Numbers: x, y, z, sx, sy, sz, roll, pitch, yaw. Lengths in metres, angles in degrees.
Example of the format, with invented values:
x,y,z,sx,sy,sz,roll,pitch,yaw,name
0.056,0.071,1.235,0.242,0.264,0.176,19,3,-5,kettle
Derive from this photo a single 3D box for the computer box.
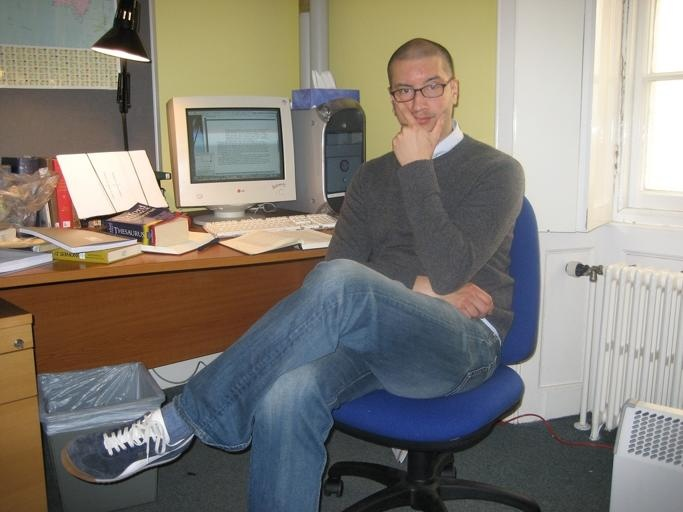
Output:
x,y,z,sx,sy,sz,roll,pitch,yaw,name
-0.066,-0.497,2.759,0.310,0.495,0.391,-12,20,-34,computer box

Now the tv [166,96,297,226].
x,y,z,sx,sy,sz,roll,pitch,yaw,name
-0.483,-0.424,2.432,0.535,0.555,0.291,-5,13,-26,tv

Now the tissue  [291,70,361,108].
x,y,z,sx,sy,sz,roll,pitch,yaw,name
-0.081,-0.804,2.662,0.118,0.105,0.162,-30,23,-13,tissue 
